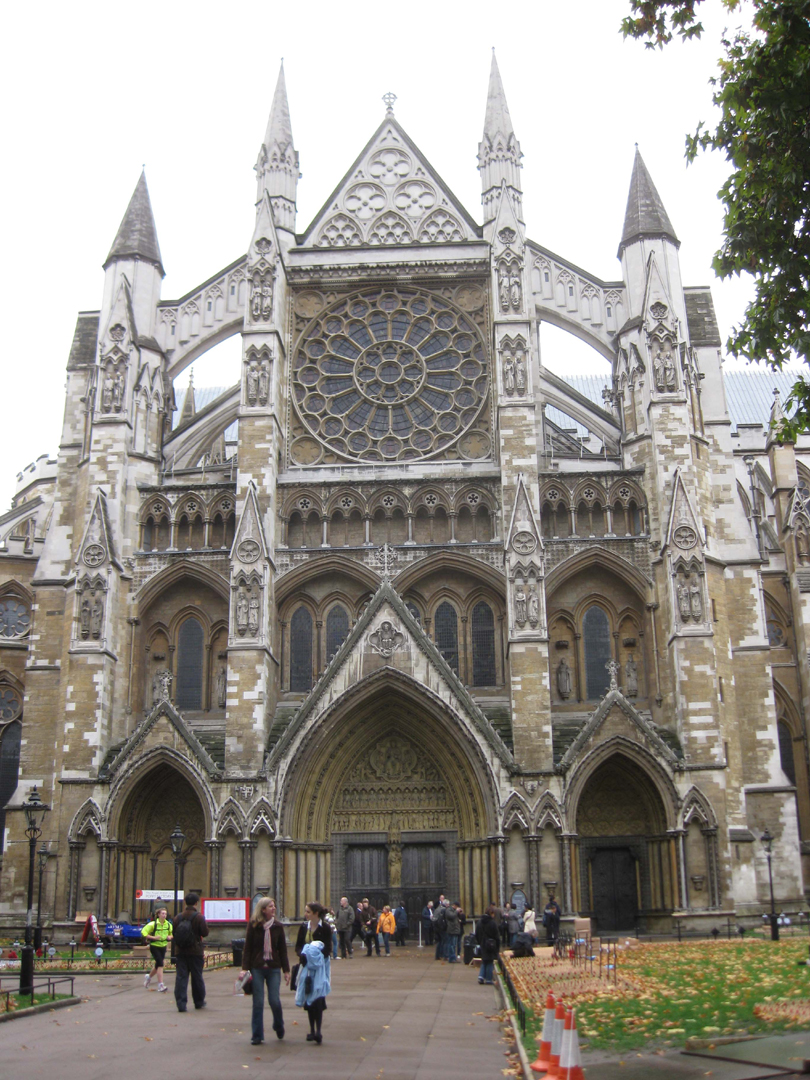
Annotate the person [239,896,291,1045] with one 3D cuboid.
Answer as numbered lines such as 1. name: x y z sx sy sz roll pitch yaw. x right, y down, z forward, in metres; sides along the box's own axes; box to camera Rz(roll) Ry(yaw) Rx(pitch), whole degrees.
1. person: -1.422 4.330 10.727 0.429 1.339 1.388 0 -19 -6

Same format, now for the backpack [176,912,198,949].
1. backpack: -2.703 4.824 13.039 0.246 0.447 0.432 2 -20 -11

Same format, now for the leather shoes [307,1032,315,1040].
1. leather shoes: -0.924 4.829 10.282 0.055 0.069 0.175 7 -21 -23
